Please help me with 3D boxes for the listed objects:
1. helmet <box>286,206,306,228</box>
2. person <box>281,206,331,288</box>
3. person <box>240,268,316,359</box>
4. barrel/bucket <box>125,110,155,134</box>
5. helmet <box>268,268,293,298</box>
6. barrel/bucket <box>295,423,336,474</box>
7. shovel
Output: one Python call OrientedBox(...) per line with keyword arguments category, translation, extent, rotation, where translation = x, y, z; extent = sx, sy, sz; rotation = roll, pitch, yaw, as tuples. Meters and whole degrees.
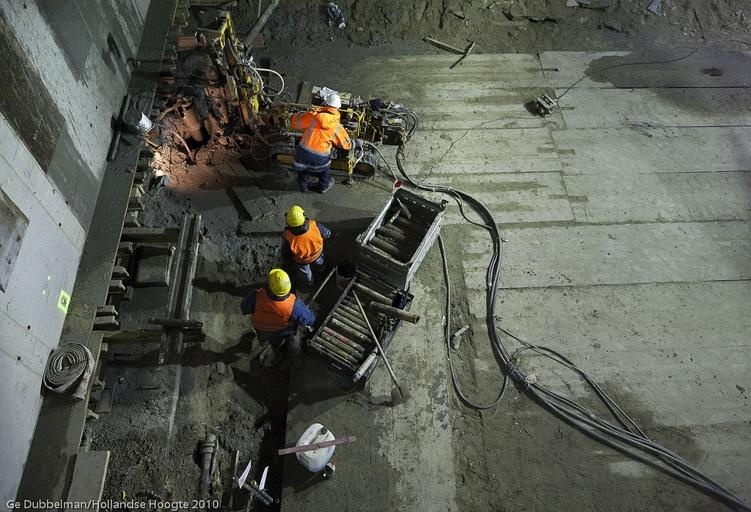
OrientedBox(category="helmet", translation=(-1.439, -0.754, 9.723), extent=(0.329, 0.436, 0.425), rotation=(2, 51, -7))
OrientedBox(category="person", translation=(-1.406, -0.161, 10.492), extent=(0.792, 2.149, 0.882), rotation=(35, 63, 19))
OrientedBox(category="person", translation=(-1.893, 1.180, 9.974), extent=(1.172, 2.721, 0.674), rotation=(18, 55, -3))
OrientedBox(category="barrel/bucket", translation=(-4.616, -2.631, 10.314), extent=(0.315, 0.582, 0.432), rotation=(-7, 82, 28))
OrientedBox(category="helmet", translation=(-1.647, 0.439, 9.059), extent=(0.320, 0.427, 0.453), rotation=(-9, 53, -15))
OrientedBox(category="barrel/bucket", translation=(-1.051, 3.464, 9.447), extent=(0.629, 0.758, 0.621), rotation=(4, 51, -5))
OrientedBox(category="shovel", translation=(0.190, 1.862, 9.922), extent=(0.498, 2.788, 0.258), rotation=(-21, 32, 1))
